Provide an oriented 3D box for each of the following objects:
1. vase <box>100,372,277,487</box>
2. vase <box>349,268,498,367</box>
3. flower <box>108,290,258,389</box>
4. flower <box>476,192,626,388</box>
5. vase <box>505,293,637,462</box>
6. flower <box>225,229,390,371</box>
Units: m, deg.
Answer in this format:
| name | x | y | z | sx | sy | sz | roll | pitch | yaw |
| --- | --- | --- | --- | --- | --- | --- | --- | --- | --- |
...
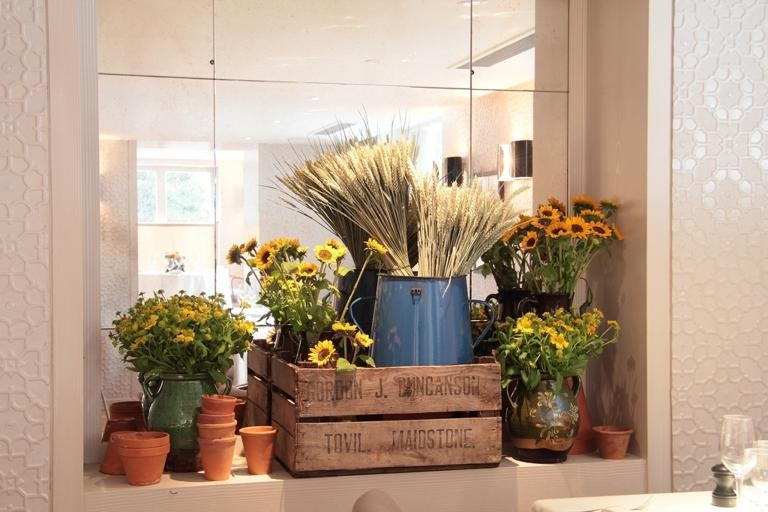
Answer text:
| name | x | y | z | sx | sy | sz | roll | pitch | yaw |
| --- | --- | --- | --- | --- | --- | --- | --- | --- | --- |
| vase | -0.690 | 0.586 | 2.191 | 0.629 | 0.339 | 0.357 | -3 | -3 | -2 |
| vase | 0.136 | 0.242 | 2.264 | 0.517 | 0.343 | 0.331 | 0 | 7 | 12 |
| flower | -0.731 | 0.292 | 2.266 | 0.464 | 0.260 | 0.428 | -22 | 11 | -5 |
| flower | 0.644 | 0.104 | 2.612 | 0.607 | 0.751 | 0.587 | 5 | -7 | -9 |
| vase | 0.551 | 0.471 | 2.434 | 0.533 | 0.626 | 0.515 | 0 | -4 | 0 |
| flower | -0.290 | 0.157 | 2.282 | 0.466 | 0.643 | 0.542 | 1 | -2 | -20 |
